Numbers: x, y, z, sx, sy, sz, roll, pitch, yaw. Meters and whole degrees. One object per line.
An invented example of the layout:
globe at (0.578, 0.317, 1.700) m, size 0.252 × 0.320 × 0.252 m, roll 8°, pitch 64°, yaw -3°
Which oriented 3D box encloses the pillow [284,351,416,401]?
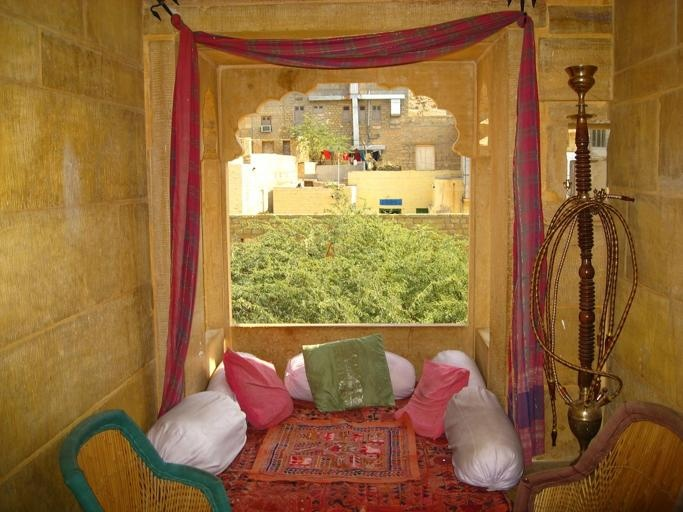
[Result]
pillow at (0.116, 0.882, 4.281) m, size 0.501 × 0.193 × 0.503 m, roll -2°, pitch 12°, yaw -1°

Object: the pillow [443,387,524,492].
pillow at (0.784, 1.009, 3.303) m, size 0.243 × 0.210 × 0.524 m, roll -7°, pitch 14°, yaw 3°

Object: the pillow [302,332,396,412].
pillow at (0.054, 0.843, 4.245) m, size 0.457 × 0.502 × 0.148 m, roll -5°, pitch -26°, yaw -9°
